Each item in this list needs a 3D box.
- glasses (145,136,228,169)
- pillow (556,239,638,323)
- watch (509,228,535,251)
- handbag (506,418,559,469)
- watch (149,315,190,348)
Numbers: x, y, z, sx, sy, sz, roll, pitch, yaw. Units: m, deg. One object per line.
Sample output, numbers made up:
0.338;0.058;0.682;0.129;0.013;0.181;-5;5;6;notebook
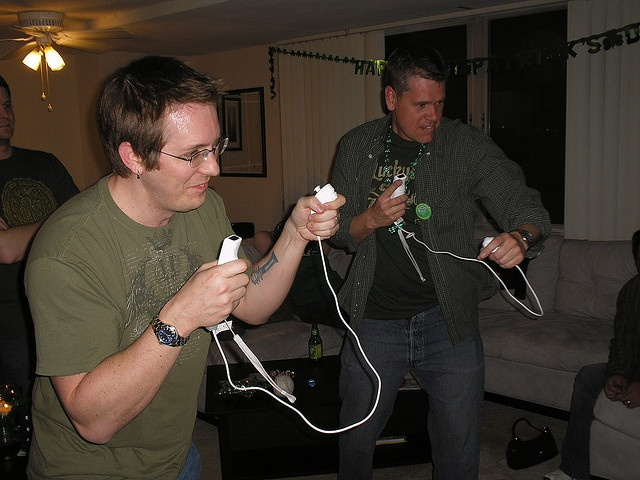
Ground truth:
-0.391;-0.271;1.588;0.124;0.040;0.122;13;31;25;glasses
2.049;0.311;4.052;0.178;0.562;0.557;9;-13;-42;pillow
0.797;-0.001;2.100;0.024;0.082;0.080;-42;9;-1;watch
1.311;1.267;3.284;0.248;0.240;0.104;-13;10;-17;handbag
-0.400;0.251;1.421;0.079;0.080;0.043;36;57;9;watch
